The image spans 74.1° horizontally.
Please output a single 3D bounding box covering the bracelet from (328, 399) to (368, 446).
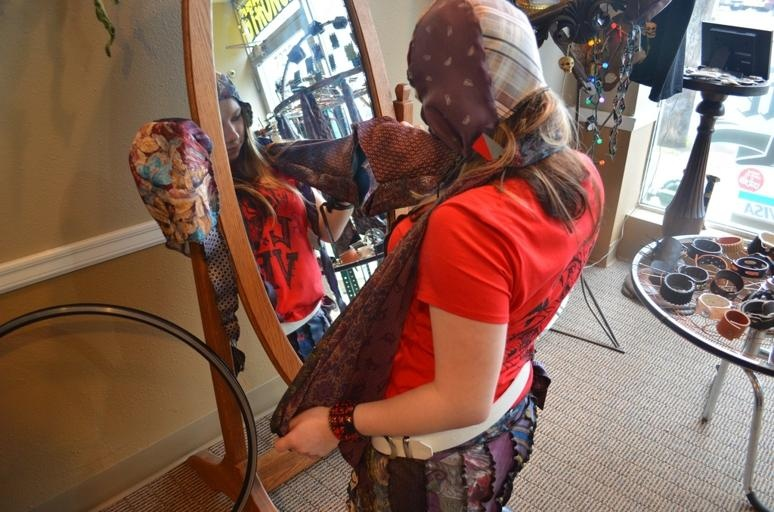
[{"bbox_3d":[-0.082,0.348,1.112,0.065,0.072,0.081,38,41,-15],"label":"bracelet"}]
